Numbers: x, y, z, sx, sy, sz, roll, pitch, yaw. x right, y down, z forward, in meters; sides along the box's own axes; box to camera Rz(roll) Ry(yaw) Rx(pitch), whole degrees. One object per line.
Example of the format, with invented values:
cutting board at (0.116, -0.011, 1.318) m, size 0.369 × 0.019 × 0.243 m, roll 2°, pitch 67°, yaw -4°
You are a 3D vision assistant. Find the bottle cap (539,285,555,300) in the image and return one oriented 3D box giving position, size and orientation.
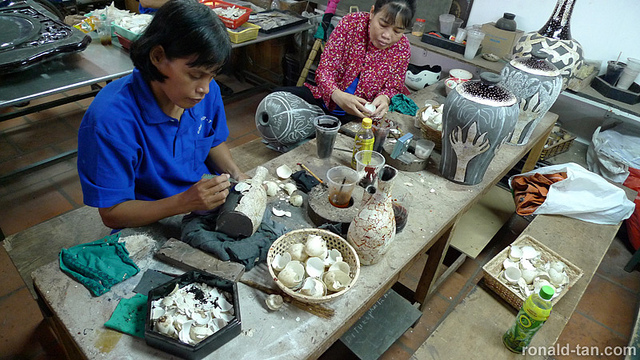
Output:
bottle cap at (1.506, 0.739, 2.549) m, size 0.085 × 0.062 × 0.084 m, roll -45°, pitch 64°, yaw -8°

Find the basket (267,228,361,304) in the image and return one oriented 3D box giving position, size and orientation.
basket at (-0.045, 0.548, 2.467) m, size 0.563 × 0.235 × 0.470 m, roll 23°, pitch 46°, yaw 20°

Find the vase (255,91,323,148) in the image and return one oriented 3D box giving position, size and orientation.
vase at (-0.283, -0.554, 3.588) m, size 0.372 × 0.381 × 0.566 m, roll -17°, pitch 3°, yaw 39°

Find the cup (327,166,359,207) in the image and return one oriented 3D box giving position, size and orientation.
cup at (0.132, 0.035, 2.827) m, size 0.284 × 0.267 × 0.268 m, roll 4°, pitch 38°, yaw -3°

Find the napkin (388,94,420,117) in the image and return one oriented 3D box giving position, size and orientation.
napkin at (0.823, -0.693, 3.723) m, size 0.267 × 0.107 × 0.219 m, roll -20°, pitch 50°, yaw -36°

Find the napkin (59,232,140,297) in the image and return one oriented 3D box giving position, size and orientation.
napkin at (-1.409, 0.530, 2.435) m, size 0.388 × 0.140 × 0.389 m, roll -25°, pitch 50°, yaw -28°

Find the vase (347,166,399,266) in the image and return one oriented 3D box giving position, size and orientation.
vase at (0.379, 0.248, 2.563) m, size 0.339 × 0.691 × 0.328 m, roll 23°, pitch 41°, yaw 26°

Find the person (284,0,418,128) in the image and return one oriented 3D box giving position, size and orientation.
person at (0.394, -1.126, 3.709) m, size 0.982 × 1.164 × 0.930 m, roll 31°, pitch 50°, yaw 26°

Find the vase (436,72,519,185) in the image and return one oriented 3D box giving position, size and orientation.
vase at (1.188, -0.390, 2.993) m, size 0.510 × 0.749 × 0.493 m, roll 24°, pitch 48°, yaw 21°

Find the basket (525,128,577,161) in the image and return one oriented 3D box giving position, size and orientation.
basket at (2.625, -0.346, 4.384) m, size 0.576 × 0.166 × 0.389 m, roll -26°, pitch 45°, yaw -21°

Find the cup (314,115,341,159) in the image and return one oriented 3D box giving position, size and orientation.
cup at (0.059, -0.341, 3.128) m, size 0.259 × 0.301 × 0.237 m, roll 2°, pitch 39°, yaw -2°

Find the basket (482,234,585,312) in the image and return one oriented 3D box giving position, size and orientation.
basket at (1.582, 0.687, 2.868) m, size 0.639 × 0.191 × 0.482 m, roll -26°, pitch 50°, yaw -28°

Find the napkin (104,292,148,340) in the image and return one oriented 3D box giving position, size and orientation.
napkin at (-1.137, 0.814, 2.320) m, size 0.036 × 0.265 × 0.322 m, roll -2°, pitch 5°, yaw 34°

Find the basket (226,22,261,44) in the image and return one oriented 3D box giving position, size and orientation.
basket at (-0.871, -1.634, 4.266) m, size 0.379 × 0.130 × 0.258 m, roll -31°, pitch 52°, yaw -31°
